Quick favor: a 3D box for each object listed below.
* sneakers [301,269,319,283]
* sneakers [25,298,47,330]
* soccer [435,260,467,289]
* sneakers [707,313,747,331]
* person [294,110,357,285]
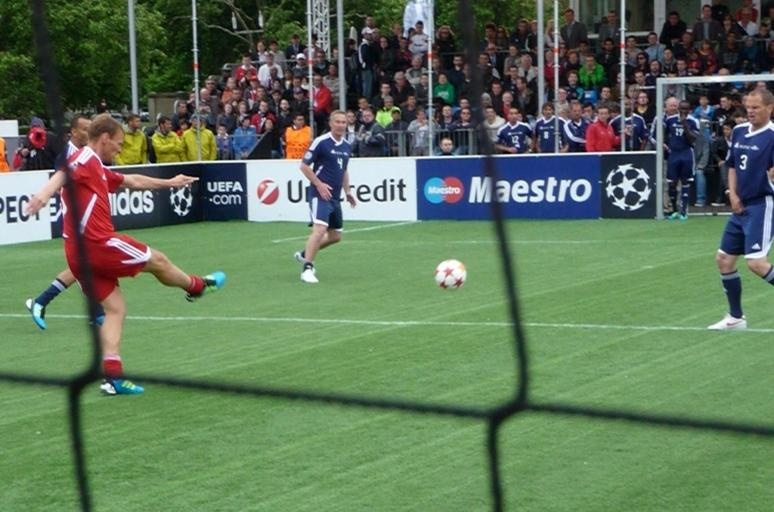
[{"bbox_3d":[-0.988,0.240,12.171,0.220,0.167,0.308,-3,5,-5],"label":"sneakers"},{"bbox_3d":[-3.628,0.593,9.902,0.153,0.336,0.115,-25,-6,11],"label":"sneakers"},{"bbox_3d":[0.736,0.222,11.153,0.310,0.352,0.372,-2,5,8],"label":"soccer"},{"bbox_3d":[3.292,0.638,9.322,0.416,0.164,0.141,0,0,11],"label":"sneakers"},{"bbox_3d":[-0.837,-0.777,12.357,0.775,2.133,0.880,-3,5,-3],"label":"person"}]
